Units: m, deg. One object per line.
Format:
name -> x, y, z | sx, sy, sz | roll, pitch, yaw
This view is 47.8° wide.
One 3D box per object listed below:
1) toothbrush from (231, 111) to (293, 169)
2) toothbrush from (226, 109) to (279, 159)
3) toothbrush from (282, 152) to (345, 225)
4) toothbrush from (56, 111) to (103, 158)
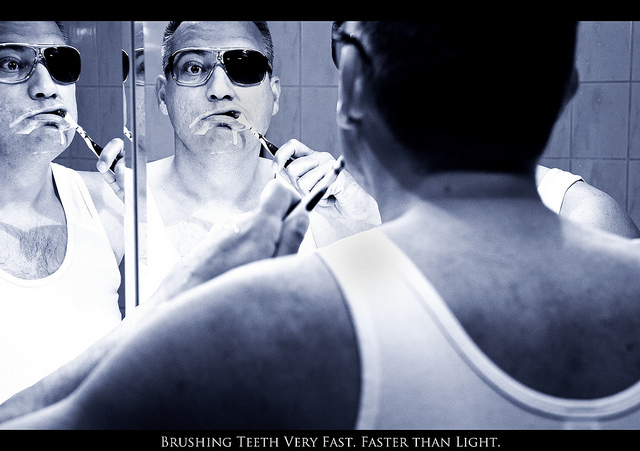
toothbrush -> -0.255, -0.342, 2.924 | 0.343, 0.042, 0.076 | 41, 84, -10
toothbrush -> -0.260, -0.358, 2.948 | 0.288, 0.047, 0.098 | 44, 84, -6
toothbrush -> -0.022, -0.135, 2.878 | 0.098, 0.055, 0.345 | 42, 89, -2
toothbrush -> -0.966, -0.380, 2.958 | 0.244, 0.028, 0.042 | 43, 96, -8
